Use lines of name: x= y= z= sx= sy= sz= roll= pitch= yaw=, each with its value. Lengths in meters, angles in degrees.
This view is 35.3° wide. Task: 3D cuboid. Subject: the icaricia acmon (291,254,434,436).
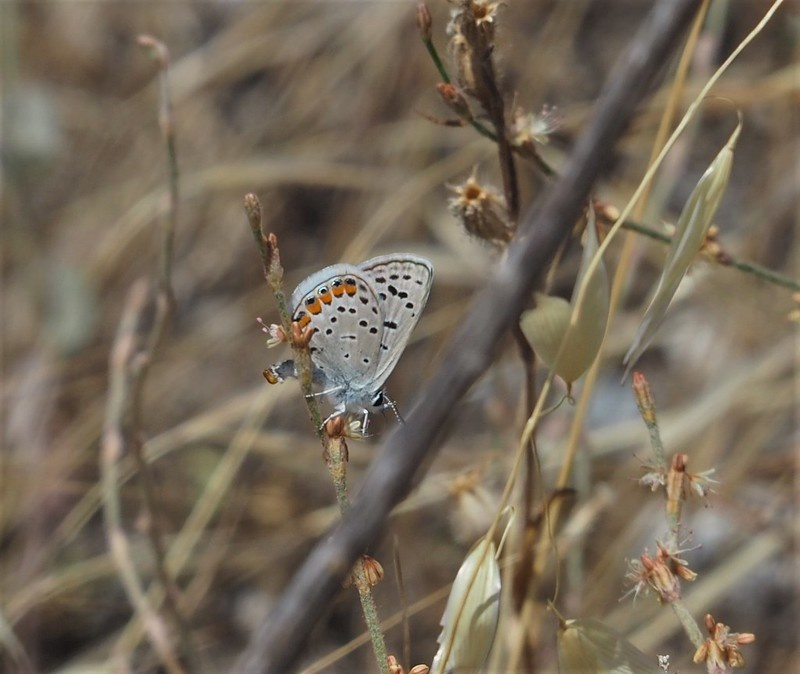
icaricia acmon: x=-0.084 y=-0.025 z=2.493 sx=0.265 sy=0.298 sz=0.403 roll=7 pitch=-69 yaw=-12
